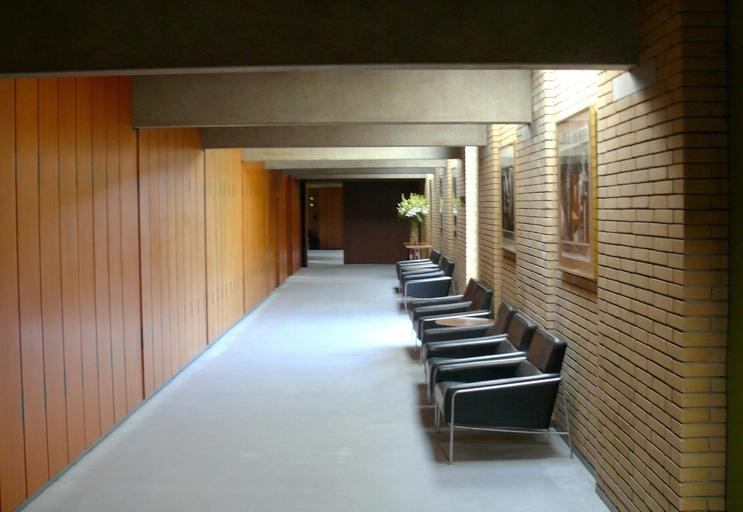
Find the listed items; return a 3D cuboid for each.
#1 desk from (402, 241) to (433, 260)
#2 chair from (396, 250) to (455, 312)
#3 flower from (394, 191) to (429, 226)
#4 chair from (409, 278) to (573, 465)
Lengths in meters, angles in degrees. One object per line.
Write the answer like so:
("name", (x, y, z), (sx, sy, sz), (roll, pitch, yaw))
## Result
("desk", (1.479, -0.226, 17.607), (0.671, 0.672, 0.685), (0, 4, -4))
("chair", (1.156, 0.580, 11.702), (1.094, 1.106, 1.034), (-1, 1, 0))
("flower", (1.353, -1.509, 17.054), (1.186, 1.316, 1.149), (2, 7, 7))
("chair", (1.123, 1.185, 5.105), (1.167, 1.063, 1.074), (-1, 1, 1))
